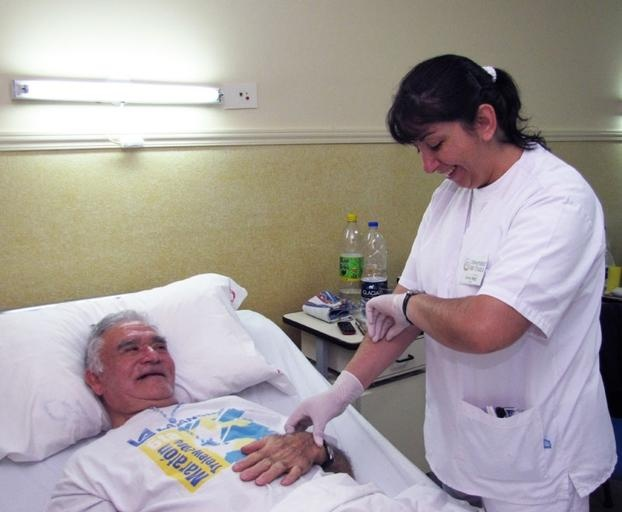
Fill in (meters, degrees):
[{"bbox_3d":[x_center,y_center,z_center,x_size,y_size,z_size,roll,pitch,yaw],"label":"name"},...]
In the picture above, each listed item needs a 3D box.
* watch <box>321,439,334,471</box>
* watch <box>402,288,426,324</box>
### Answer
[{"bbox_3d":[0.052,0.596,1.595,0.041,0.071,0.062,4,-4,-16],"label":"watch"},{"bbox_3d":[0.275,0.136,1.544,0.054,0.089,0.084,21,2,-21],"label":"watch"}]
